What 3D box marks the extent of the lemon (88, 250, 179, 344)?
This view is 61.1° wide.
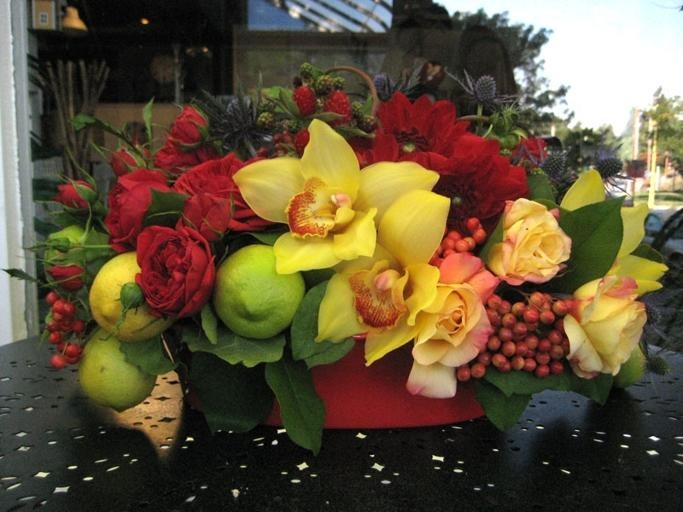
[{"bbox_3d":[-0.231,0.051,0.674,0.079,0.078,0.099,-5,-7,2],"label":"lemon"}]

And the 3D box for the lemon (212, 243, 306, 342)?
[{"bbox_3d":[-0.088,0.039,0.655,0.094,0.093,0.097,9,9,-1],"label":"lemon"}]

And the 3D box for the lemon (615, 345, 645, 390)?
[{"bbox_3d":[0.371,0.144,0.739,0.016,0.049,0.040,11,39,-2],"label":"lemon"}]
